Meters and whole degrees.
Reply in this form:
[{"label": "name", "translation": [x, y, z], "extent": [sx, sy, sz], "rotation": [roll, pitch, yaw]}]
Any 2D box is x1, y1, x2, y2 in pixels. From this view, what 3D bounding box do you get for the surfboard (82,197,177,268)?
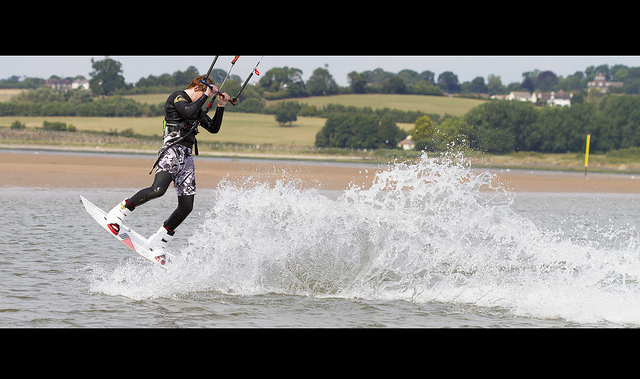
[{"label": "surfboard", "translation": [-6.643, 1.632, 41.099], "extent": [3.935, 0.417, 0.570], "rotation": [31, 47, -8]}]
